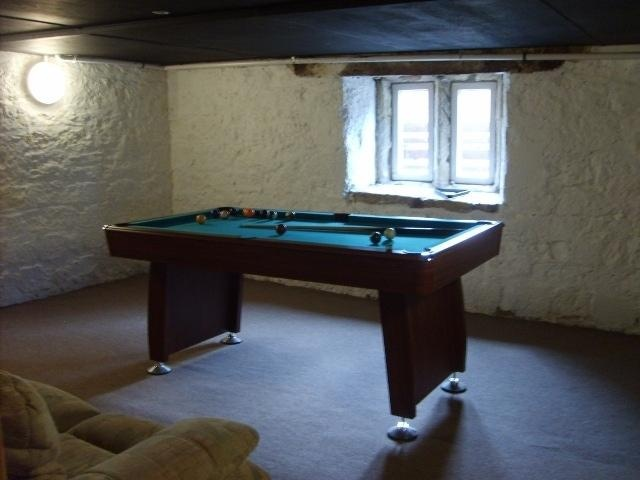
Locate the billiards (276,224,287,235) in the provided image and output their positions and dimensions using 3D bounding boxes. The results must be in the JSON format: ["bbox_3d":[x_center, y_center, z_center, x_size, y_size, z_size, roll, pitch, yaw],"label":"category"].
[{"bbox_3d":[-0.245,-0.068,3.351,0.069,0.057,0.060,-5,-9,29],"label":"billiards"}]

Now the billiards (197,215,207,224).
[{"bbox_3d":[-0.846,-0.150,3.864,0.074,0.066,0.074,-9,18,-41],"label":"billiards"}]

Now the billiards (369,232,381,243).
[{"bbox_3d":[0.314,-0.013,3.030,0.056,0.054,0.060,2,5,33],"label":"billiards"}]

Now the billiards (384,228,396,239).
[{"bbox_3d":[0.407,-0.039,3.157,0.050,0.047,0.056,31,0,-41],"label":"billiards"}]

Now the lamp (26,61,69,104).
[{"bbox_3d":[-2.453,-1.418,4.815,0.220,0.342,0.317,22,17,39],"label":"lamp"}]
